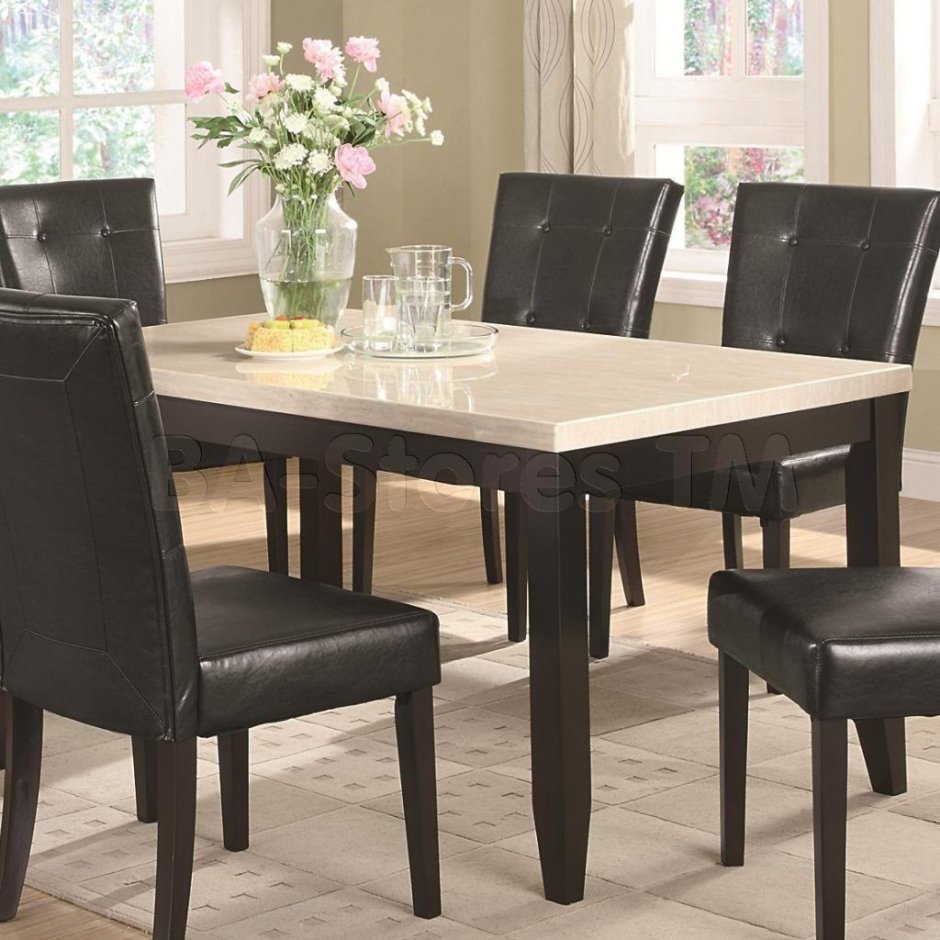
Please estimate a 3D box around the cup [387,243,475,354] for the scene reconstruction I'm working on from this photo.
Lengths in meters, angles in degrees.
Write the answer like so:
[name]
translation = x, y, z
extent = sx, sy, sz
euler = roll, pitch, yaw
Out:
[cup]
translation = -0.085, -0.295, 1.853
extent = 0.102, 0.173, 0.144
euler = -2, 5, -5
